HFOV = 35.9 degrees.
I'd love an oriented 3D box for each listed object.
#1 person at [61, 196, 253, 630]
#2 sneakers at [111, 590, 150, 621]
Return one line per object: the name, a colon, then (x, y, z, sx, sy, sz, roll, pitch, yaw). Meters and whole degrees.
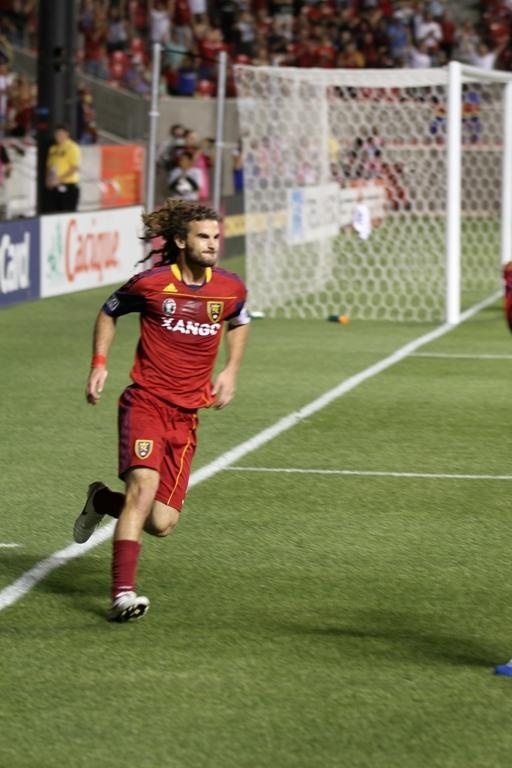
person: (-0.377, 0.064, 2.964, 0.559, 1.544, 0.743, 1, 4, 7)
sneakers: (-0.435, 0.768, 2.727, 0.075, 0.088, 0.196, 19, -35, -35)
